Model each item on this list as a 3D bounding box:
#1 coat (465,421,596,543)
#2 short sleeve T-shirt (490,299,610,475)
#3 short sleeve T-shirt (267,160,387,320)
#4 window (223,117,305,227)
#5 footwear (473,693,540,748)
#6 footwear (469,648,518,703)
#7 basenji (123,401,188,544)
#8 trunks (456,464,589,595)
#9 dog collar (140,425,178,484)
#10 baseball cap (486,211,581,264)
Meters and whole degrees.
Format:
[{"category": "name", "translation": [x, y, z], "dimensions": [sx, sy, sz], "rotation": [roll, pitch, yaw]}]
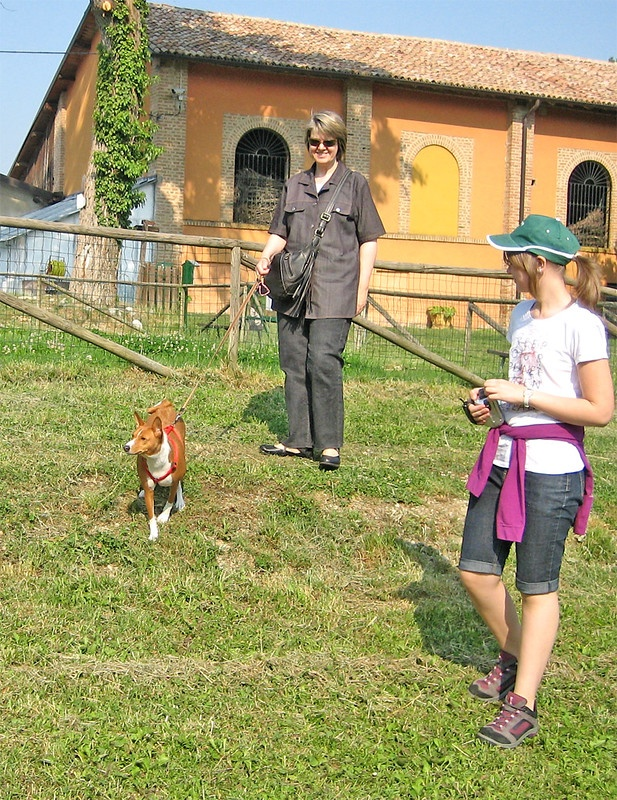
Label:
[{"category": "coat", "translation": [0.745, 0.251, 3.032], "dimensions": [0.374, 0.341, 0.442], "rotation": [5, 6, -3]}, {"category": "short sleeve T-shirt", "translation": [0.757, -0.049, 2.958], "dimensions": [0.209, 0.569, 0.443], "rotation": [1, 13, -26]}, {"category": "short sleeve T-shirt", "translation": [0.091, -0.939, 5.276], "dimensions": [0.670, 0.909, 0.377], "rotation": [9, 12, 11]}, {"category": "window", "translation": [-1.133, -5.513, 22.353], "dimensions": [2.465, 3.429, 0.304], "rotation": [1, 38, -1]}, {"category": "footwear", "translation": [0.670, 1.034, 2.976], "dimensions": [0.249, 0.142, 0.105], "rotation": [-2, 21, -46]}, {"category": "footwear", "translation": [0.681, 0.983, 3.251], "dimensions": [0.251, 0.149, 0.097], "rotation": [-6, 18, -41]}, {"category": "basenji", "translation": [-0.726, 0.305, 4.426], "dimensions": [0.242, 0.601, 0.965], "rotation": [0, 15, -4]}, {"category": "trunks", "translation": [0.710, 0.417, 3.010], "dimensions": [0.361, 0.436, 0.254], "rotation": [7, 1, 40]}, {"category": "dog collar", "translation": [-0.684, 0.294, 4.176], "dimensions": [0.139, 0.060, 0.257], "rotation": [-28, -45, 23]}, {"category": "baseball cap", "translation": [0.732, -0.529, 2.930], "dimensions": [0.261, 0.131, 0.174], "rotation": [14, 19, 1]}]
